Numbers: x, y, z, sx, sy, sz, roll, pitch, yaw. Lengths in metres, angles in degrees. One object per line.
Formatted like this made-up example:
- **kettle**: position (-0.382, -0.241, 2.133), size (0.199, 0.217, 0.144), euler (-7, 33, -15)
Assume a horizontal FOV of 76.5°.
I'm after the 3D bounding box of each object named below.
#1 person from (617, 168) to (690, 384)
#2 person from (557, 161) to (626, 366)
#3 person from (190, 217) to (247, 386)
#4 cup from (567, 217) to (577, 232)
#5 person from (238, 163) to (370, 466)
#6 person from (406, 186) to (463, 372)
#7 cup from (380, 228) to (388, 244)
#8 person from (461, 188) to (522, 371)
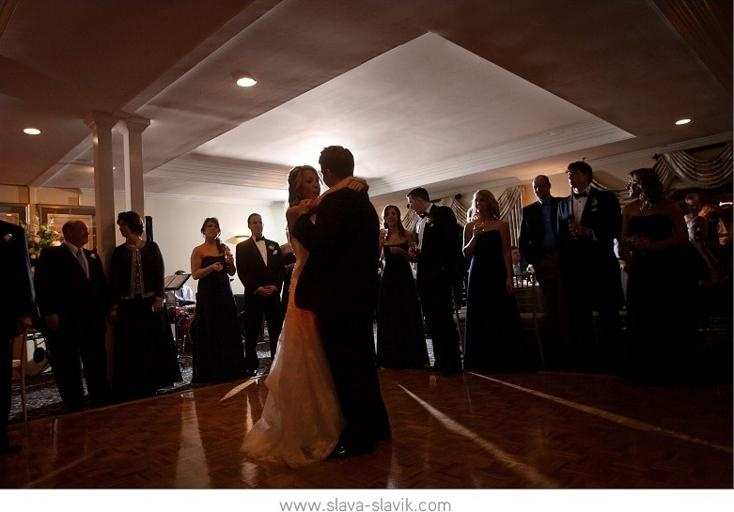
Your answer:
- **person**: position (2.835, 0.153, 4.526), size (0.598, 2.005, 0.479), euler (-1, 5, 29)
- **person**: position (2.455, 0.072, 5.106), size (0.629, 2.207, 0.450), euler (-1, 5, 27)
- **person**: position (-1.872, 0.512, 5.686), size (0.622, 1.950, 0.660), euler (-4, 4, -12)
- **cup**: position (2.117, -0.318, 4.750), size (0.084, 0.135, 0.074), euler (-1, 5, 29)
- **person**: position (-0.551, 0.377, 3.478), size (0.840, 2.145, 0.614), euler (-5, 5, -22)
- **person**: position (0.798, 0.250, 5.402), size (0.548, 2.084, 0.375), euler (-1, 5, 32)
- **cup**: position (0.193, -0.255, 5.712), size (0.052, 0.168, 0.120), euler (5, -4, -21)
- **person**: position (1.417, 0.254, 5.323), size (0.660, 2.026, 0.589), euler (-3, 4, 12)
